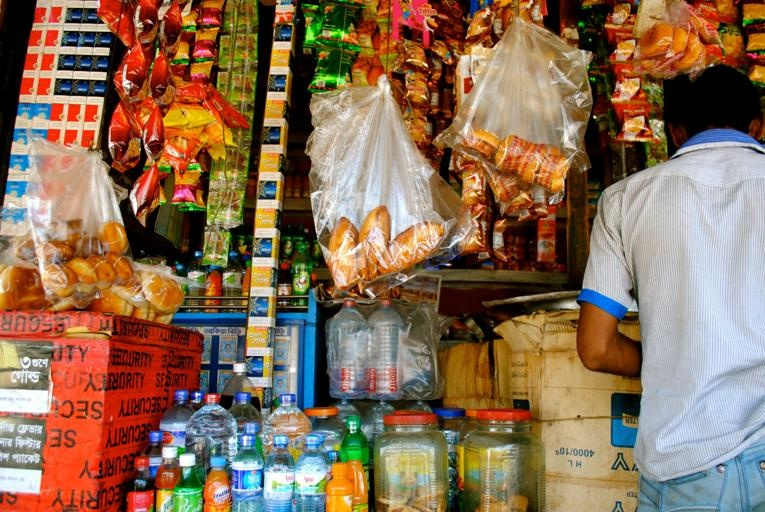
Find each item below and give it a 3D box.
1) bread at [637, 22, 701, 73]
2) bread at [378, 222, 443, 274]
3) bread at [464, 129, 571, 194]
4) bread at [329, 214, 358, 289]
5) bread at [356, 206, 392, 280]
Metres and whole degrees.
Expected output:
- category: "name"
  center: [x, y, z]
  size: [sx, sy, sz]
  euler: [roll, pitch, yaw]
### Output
- category: "bread"
  center: [1.205, -0.848, 3.357]
  size: [0.201, 0.217, 0.089]
  euler: [0, 7, -1]
- category: "bread"
  center: [0.104, -0.025, 3.019]
  size: [0.244, 0.140, 0.081]
  euler: [-34, 2, -8]
- category: "bread"
  center: [0.535, -0.372, 3.152]
  size: [0.363, 0.211, 0.134]
  euler: [26, 14, 15]
- category: "bread"
  center: [-0.141, -0.005, 2.957]
  size: [0.111, 0.239, 0.072]
  euler: [8, -7, -25]
- category: "bread"
  center: [-0.017, -0.042, 2.913]
  size: [0.121, 0.250, 0.076]
  euler: [4, -8, -10]
